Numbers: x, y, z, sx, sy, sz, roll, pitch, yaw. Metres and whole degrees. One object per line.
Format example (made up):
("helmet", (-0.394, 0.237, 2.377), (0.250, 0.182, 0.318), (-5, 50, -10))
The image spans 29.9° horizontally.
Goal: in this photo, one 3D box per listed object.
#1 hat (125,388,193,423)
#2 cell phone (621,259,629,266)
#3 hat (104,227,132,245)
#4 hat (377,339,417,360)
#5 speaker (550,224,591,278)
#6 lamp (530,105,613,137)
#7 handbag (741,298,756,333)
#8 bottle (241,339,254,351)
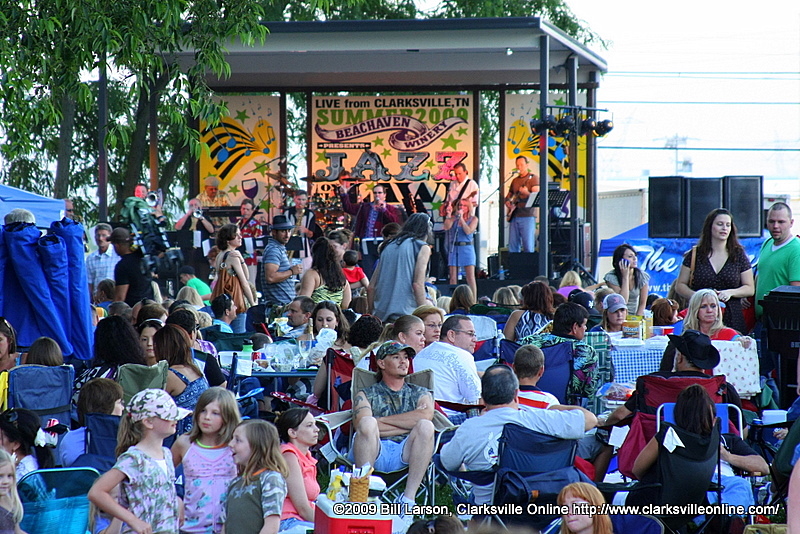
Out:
("hat", (-2.090, 1.200, 12.780), (0.387, 0.258, 0.274), (-9, 3, -3))
("cell phone", (2.583, -0.039, 17.224), (0.066, 0.074, 0.070), (2, -6, -13))
("hat", (-3.136, -0.318, 16.765), (0.167, 0.133, 0.231), (-9, 20, -44))
("hat", (-0.065, 0.804, 13.941), (0.261, 0.117, 0.184), (-20, -12, 29))
("speaker", (2.554, -0.244, 22.856), (0.711, 1.108, 0.755), (-1, 1, 4))
("lamp", (2.403, -2.068, 21.588), (0.783, 0.397, 0.829), (2, 0, -15))
("handbag", (3.633, 0.521, 15.631), (0.198, 0.330, 0.304), (1, 4, 12))
("bottle", (-1.602, 0.840, 15.826), (0.092, 0.121, 0.110), (2, -5, -22))
